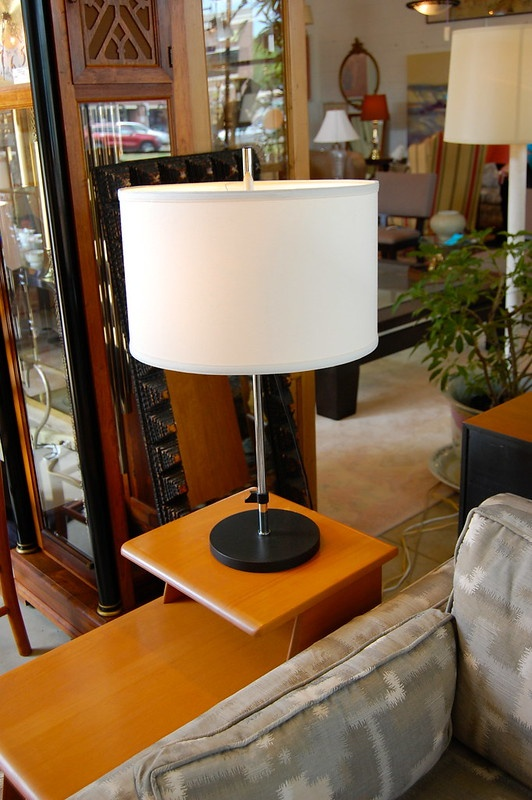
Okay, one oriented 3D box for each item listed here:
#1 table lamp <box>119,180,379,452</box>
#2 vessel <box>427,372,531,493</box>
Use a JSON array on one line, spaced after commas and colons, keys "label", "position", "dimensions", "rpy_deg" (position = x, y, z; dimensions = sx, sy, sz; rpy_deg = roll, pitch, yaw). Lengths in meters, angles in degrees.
[{"label": "table lamp", "position": [-0.020, -0.195, 0.863], "dimensions": [0.354, 0.223, 0.355], "rpy_deg": [1, 22, 3]}, {"label": "vessel", "position": [0.731, 0.124, 2.337], "dimensions": [0.170, 0.375, 0.334], "rpy_deg": [8, 14, 20]}]
